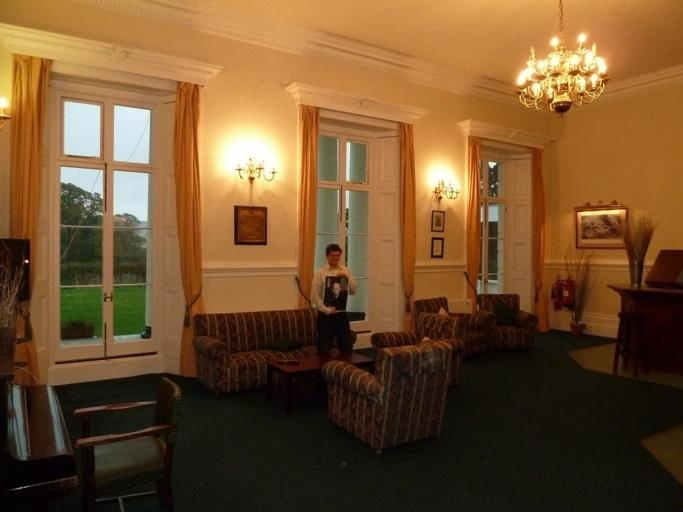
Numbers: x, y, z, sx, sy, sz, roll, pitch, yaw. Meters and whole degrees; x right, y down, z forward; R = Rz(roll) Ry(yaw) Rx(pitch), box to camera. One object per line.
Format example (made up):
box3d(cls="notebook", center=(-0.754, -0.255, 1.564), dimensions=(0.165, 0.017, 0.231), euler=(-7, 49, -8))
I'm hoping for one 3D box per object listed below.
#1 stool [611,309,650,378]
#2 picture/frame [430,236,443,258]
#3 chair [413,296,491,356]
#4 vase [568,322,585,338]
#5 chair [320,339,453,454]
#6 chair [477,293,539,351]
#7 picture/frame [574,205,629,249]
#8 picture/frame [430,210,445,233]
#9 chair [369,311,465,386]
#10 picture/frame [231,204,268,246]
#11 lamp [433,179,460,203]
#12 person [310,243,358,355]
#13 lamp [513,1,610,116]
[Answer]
box3d(cls="stool", center=(4.680, 1.388, 8.010), dimensions=(0.489, 0.999, 0.898), euler=(5, 8, 33))
box3d(cls="picture/frame", center=(1.897, -0.189, 10.054), dimensions=(0.381, 0.518, 0.037), euler=(2, -1, -35))
box3d(cls="chair", center=(1.964, 1.184, 8.376), dimensions=(1.017, 1.083, 1.054), euler=(3, -6, -34))
box3d(cls="vase", center=(5.149, 1.642, 10.884), dimensions=(0.260, 0.227, 0.281), euler=(1, 1, -7))
box3d(cls="chair", center=(0.449, 1.465, 5.676), dimensions=(1.070, 1.285, 1.212), euler=(1, 1, -28))
box3d(cls="chair", center=(3.158, 1.276, 9.574), dimensions=(0.925, 1.144, 1.020), euler=(2, -5, 7))
box3d(cls="picture/frame", center=(5.635, -0.638, 10.698), dimensions=(0.068, 0.928, 0.893), euler=(4, -4, -40))
box3d(cls="picture/frame", center=(1.902, -0.719, 10.051), dimensions=(0.402, 0.527, 0.033), euler=(2, 0, -35))
box3d(cls="chair", center=(1.082, 1.266, 7.239), dimensions=(1.001, 1.076, 1.122), euler=(7, -11, -30))
box3d(cls="picture/frame", center=(-1.545, -0.512, 8.078), dimensions=(0.592, 0.736, 0.067), euler=(1, 5, -33))
box3d(cls="lamp", center=(2.150, -1.366, 10.176), dimensions=(0.738, 0.437, 0.167), euler=(-6, 9, -43))
box3d(cls="person", center=(-0.091, 0.847, 7.102), dimensions=(0.594, 2.053, 0.560), euler=(-11, 19, -35))
box3d(cls="lamp", center=(3.494, -2.992, 7.801), dimensions=(1.069, 1.883, 3.668), euler=(4, 8, 25))
